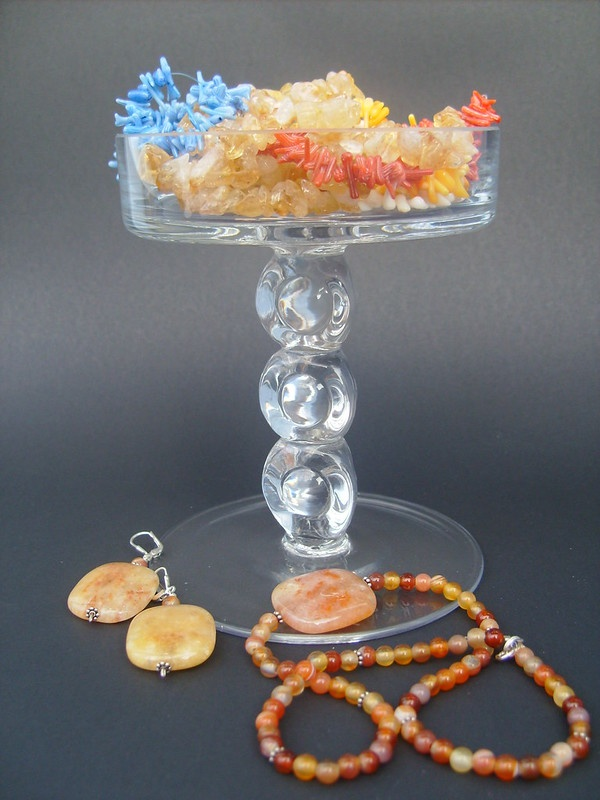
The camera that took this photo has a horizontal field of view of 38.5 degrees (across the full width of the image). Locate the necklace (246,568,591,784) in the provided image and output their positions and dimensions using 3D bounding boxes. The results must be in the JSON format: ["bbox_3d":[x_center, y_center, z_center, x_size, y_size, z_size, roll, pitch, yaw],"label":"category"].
[{"bbox_3d":[0.121,0.324,1.053,0.380,0.047,0.423,-6,19,-11],"label":"necklace"}]

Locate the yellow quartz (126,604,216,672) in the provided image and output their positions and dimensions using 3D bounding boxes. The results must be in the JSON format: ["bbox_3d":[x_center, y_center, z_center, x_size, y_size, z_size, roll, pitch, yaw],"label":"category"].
[{"bbox_3d":[-0.166,0.307,1.115,0.119,0.035,0.120,-10,20,-22],"label":"yellow quartz"}]

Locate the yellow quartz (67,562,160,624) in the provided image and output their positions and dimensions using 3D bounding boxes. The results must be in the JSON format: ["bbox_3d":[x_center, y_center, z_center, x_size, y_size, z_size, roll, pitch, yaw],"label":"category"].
[{"bbox_3d":[-0.268,0.271,1.239,0.114,0.027,0.125,10,33,9],"label":"yellow quartz"}]
